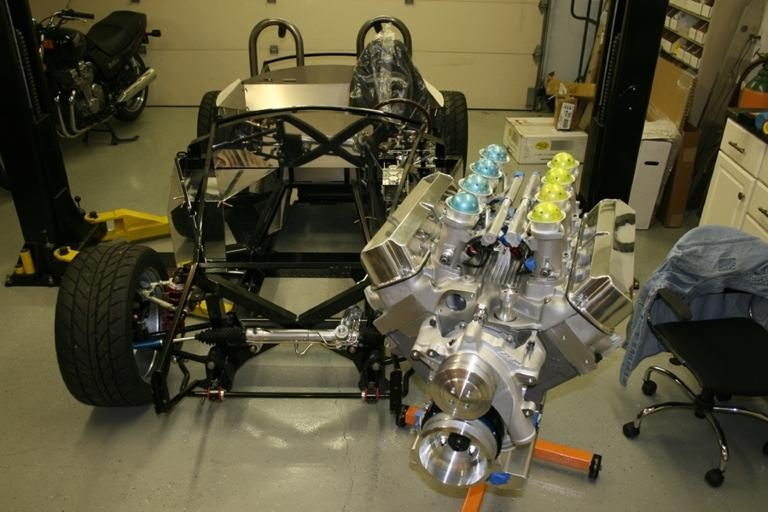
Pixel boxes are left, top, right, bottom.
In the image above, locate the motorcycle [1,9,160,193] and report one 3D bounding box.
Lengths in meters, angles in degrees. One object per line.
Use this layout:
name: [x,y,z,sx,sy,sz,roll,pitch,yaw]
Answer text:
motorcycle: [-3.209,-2.043,6.723,0.743,1.441,1.813,0,25,-2]
